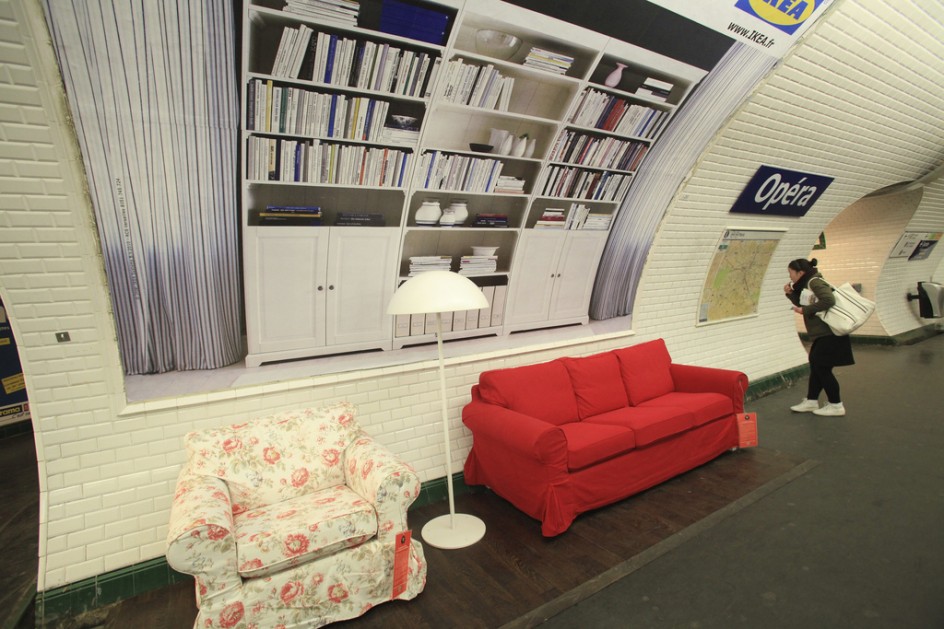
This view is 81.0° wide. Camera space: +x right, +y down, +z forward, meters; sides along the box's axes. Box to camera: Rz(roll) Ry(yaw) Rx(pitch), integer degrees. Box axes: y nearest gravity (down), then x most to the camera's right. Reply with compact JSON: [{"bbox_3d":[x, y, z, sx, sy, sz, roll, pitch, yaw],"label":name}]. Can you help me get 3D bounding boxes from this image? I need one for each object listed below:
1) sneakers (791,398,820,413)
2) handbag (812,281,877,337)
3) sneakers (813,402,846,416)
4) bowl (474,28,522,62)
[{"bbox_3d":[3.942,1.096,6.628,0.405,0.160,0.140,-2,-1,14],"label":"sneakers"},{"bbox_3d":[4.331,-0.058,6.210,0.610,0.576,0.256,-23,3,20],"label":"handbag"},{"bbox_3d":[4.145,1.118,6.478,0.386,0.143,0.140,-1,3,20],"label":"sneakers"},{"bbox_3d":[0.174,-1.987,4.064,0.209,0.105,0.198,2,18,-1],"label":"bowl"}]
